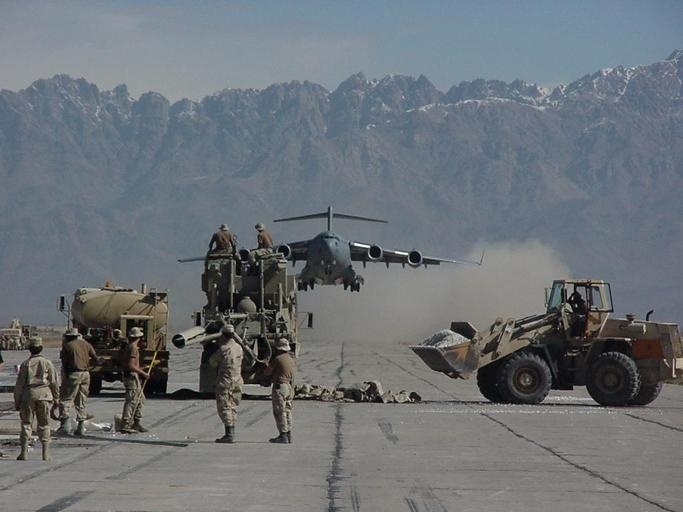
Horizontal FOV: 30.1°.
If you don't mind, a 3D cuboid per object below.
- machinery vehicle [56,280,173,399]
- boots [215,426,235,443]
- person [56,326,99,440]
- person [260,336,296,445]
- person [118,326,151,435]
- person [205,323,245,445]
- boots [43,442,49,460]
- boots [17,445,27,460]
[{"bbox_3d":[-9.348,3.526,52.478,5.014,4.537,7.879,6,-6,-11],"label":"machinery vehicle"},{"bbox_3d":[-3.873,5.983,42.339,0.621,0.568,0.631,0,1,-8],"label":"boots"},{"bbox_3d":[-9.021,4.270,43.170,1.238,3.471,1.127,-2,3,-37],"label":"person"},{"bbox_3d":[-1.981,4.556,42.415,0.769,3.452,0.869,0,1,36],"label":"person"},{"bbox_3d":[-7.040,4.271,43.395,1.113,3.676,0.903,0,1,-17],"label":"person"},{"bbox_3d":[-3.830,4.295,42.627,0.974,3.866,1.157,0,1,-5],"label":"person"},{"bbox_3d":[-9.478,6.265,40.534,0.235,0.567,0.388,-1,1,-17],"label":"boots"},{"bbox_3d":[-10.217,6.301,40.504,0.316,0.489,0.387,-1,1,-15],"label":"boots"}]
